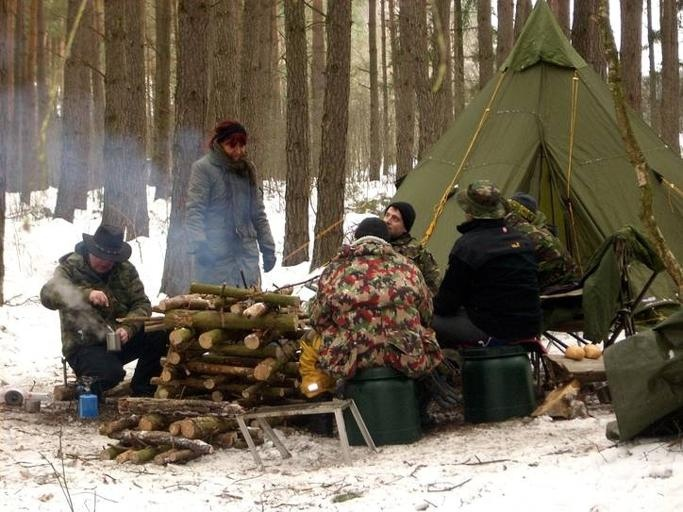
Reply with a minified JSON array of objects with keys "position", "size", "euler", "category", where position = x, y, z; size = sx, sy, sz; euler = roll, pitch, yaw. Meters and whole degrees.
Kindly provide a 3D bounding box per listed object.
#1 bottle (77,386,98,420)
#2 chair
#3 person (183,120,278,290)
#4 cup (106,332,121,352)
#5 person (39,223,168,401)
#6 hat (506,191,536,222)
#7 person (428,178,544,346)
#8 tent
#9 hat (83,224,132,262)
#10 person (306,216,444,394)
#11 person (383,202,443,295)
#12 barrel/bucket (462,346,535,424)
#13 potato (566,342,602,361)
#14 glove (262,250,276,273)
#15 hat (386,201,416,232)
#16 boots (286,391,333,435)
[{"position":[-2.235,1.333,7.420],"size":[0.264,0.337,0.242],"euler":[0,-4,0],"category":"bottle"},{"position":[2.396,0.347,7.775],"size":[1.112,1.093,0.984],"euler":[-5,-1,37],"category":"chair"},{"position":[-1.095,-0.469,8.010],"size":[0.886,1.639,0.390],"euler":[-6,11,-21],"category":"person"},{"position":[-2.052,0.808,7.541],"size":[0.156,0.177,0.153],"euler":[-1,-3,0],"category":"cup"},{"position":[-2.188,0.615,7.870],"size":[1.177,1.816,1.034],"euler":[-5,4,-13],"category":"person"},{"position":[1.805,-0.481,8.389],"size":[0.267,0.210,0.204],"euler":[27,-9,43],"category":"hat"},{"position":[1.256,0.111,7.287],"size":[0.923,1.447,0.458],"euler":[-1,10,7],"category":"person"},{"position":[2.553,-0.946,10.420],"size":[3.507,2.847,3.757],"euler":[1,-2,12],"category":"tent"},{"position":[-2.211,-0.182,7.782],"size":[0.398,0.157,0.349],"euler":[31,23,29],"category":"hat"},{"position":[0.264,0.471,7.025],"size":[1.275,1.473,1.034],"euler":[0,2,-4],"category":"person"},{"position":[0.674,-0.045,7.855],"size":[0.342,0.979,0.680],"euler":[7,-21,-37],"category":"person"},{"position":[1.311,1.137,7.321],"size":[0.635,0.704,0.641],"euler":[-3,-8,0],"category":"barrel/bucket"},{"position":[2.390,0.961,8.279],"size":[0.248,0.108,0.185],"euler":[-1,-5,36],"category":"potato"},{"position":[-0.721,0.071,8.191],"size":[0.138,0.184,0.191],"euler":[0,33,3],"category":"glove"},{"position":[0.617,-0.425,8.168],"size":[0.280,0.227,0.281],"euler":[34,-25,31],"category":"hat"},{"position":[-0.267,1.484,7.297],"size":[0.414,0.197,0.281],"euler":[-3,10,-3],"category":"boots"}]
